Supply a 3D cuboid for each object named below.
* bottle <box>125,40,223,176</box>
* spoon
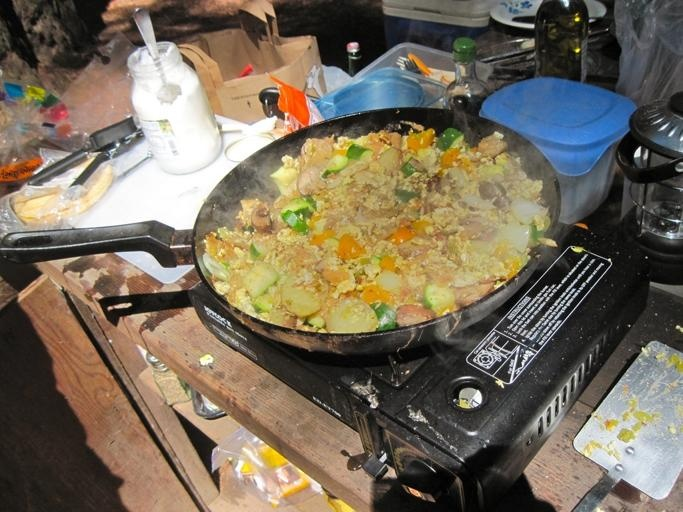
[{"bbox_3d":[-0.507,-0.436,1.627,0.322,0.385,0.290,12,25,28],"label":"bottle"},{"bbox_3d":[-0.556,-0.591,1.543,0.073,0.267,0.181,-23,49,-8],"label":"spoon"}]
